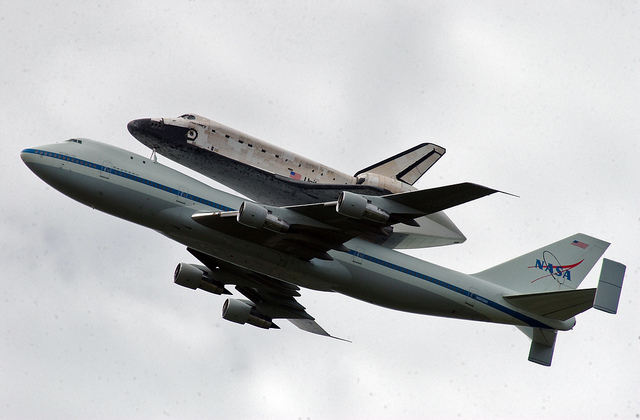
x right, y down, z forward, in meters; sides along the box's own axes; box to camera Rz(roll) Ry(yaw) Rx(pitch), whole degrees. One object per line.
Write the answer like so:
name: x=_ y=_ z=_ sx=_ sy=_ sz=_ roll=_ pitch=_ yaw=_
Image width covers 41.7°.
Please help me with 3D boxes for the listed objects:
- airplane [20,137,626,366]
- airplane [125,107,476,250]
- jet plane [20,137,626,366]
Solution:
airplane: x=-0.246 y=0.804 z=33.510 sx=32.047 sy=9.049 sz=9.335 roll=2 pitch=90 yaw=-12
airplane: x=-1.867 y=-1.610 z=35.020 sx=8.966 sy=8.286 sz=2.626 roll=19 pitch=76 yaw=-11
jet plane: x=1.016 y=0.492 z=36.164 sx=25.336 sy=19.514 sz=5.401 roll=19 pitch=87 yaw=-19
